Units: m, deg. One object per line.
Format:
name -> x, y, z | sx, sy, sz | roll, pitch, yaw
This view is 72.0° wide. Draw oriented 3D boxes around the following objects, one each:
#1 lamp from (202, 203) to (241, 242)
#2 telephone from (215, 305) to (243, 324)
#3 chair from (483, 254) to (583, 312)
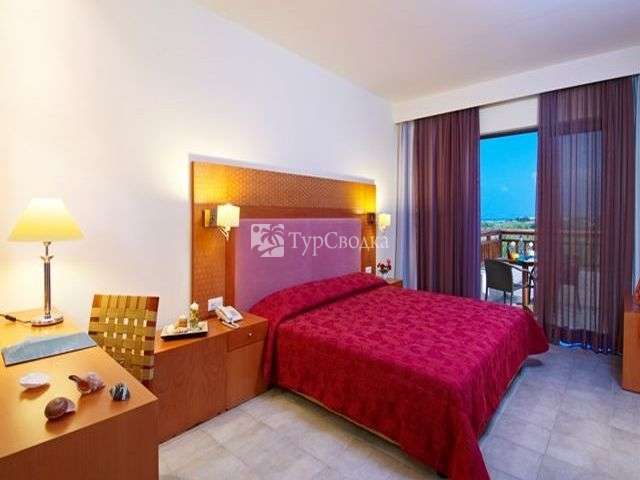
lamp -> -0.875, -0.170, 4.020 | 0.300, 0.362, 0.275 | 1, 2, 32
telephone -> -0.823, 0.666, 3.954 | 0.180, 0.078, 0.143 | 10, 13, 34
chair -> 2.553, 0.468, 5.734 | 0.596, 0.826, 0.807 | 0, 1, 38
